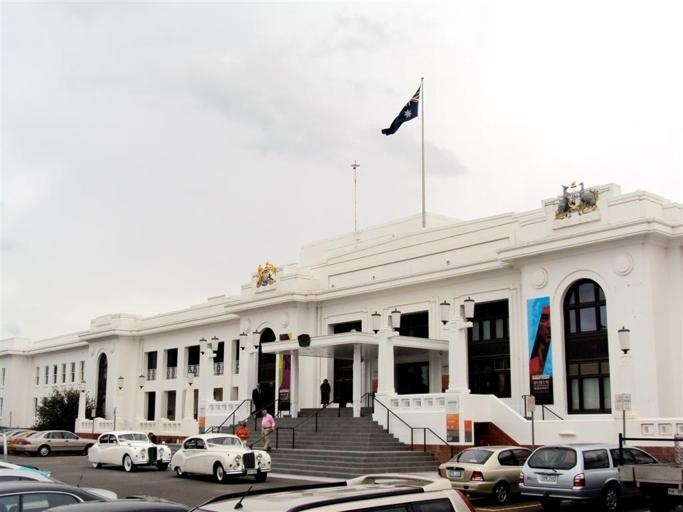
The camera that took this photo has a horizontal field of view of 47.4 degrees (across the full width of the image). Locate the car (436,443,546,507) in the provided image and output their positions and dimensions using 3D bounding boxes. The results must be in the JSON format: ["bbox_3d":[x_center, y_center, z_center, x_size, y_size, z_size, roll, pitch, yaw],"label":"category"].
[{"bbox_3d":[4.902,7.200,25.009,4.072,1.488,1.815,3,-8,-42],"label":"car"}]

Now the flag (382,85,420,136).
[{"bbox_3d":[3.613,-8.483,44.708,1.669,0.468,4.186,1,-30,-20],"label":"flag"}]

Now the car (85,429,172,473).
[{"bbox_3d":[-9.424,8.653,34.083,1.704,1.461,4.075,11,-18,-42],"label":"car"}]

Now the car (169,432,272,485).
[{"bbox_3d":[-4.667,7.735,29.373,1.804,1.181,3.170,10,-14,-40],"label":"car"}]
